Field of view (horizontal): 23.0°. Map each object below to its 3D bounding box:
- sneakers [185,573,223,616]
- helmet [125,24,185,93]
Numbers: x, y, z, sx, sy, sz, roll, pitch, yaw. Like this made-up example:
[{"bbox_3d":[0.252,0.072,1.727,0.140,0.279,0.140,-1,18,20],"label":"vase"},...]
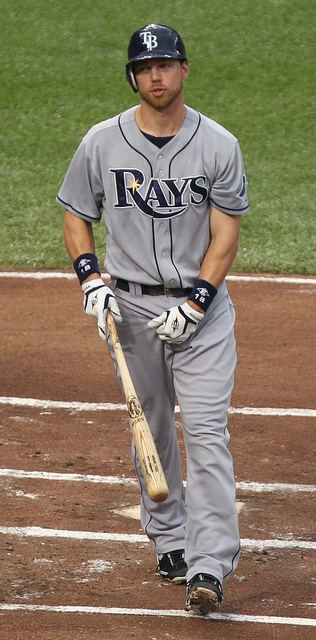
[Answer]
[{"bbox_3d":[0.162,0.979,2.760,0.091,0.181,0.086,13,57,-2],"label":"sneakers"},{"bbox_3d":[-0.011,-1.011,3.058,0.231,0.277,0.283,-4,34,-1],"label":"helmet"}]
